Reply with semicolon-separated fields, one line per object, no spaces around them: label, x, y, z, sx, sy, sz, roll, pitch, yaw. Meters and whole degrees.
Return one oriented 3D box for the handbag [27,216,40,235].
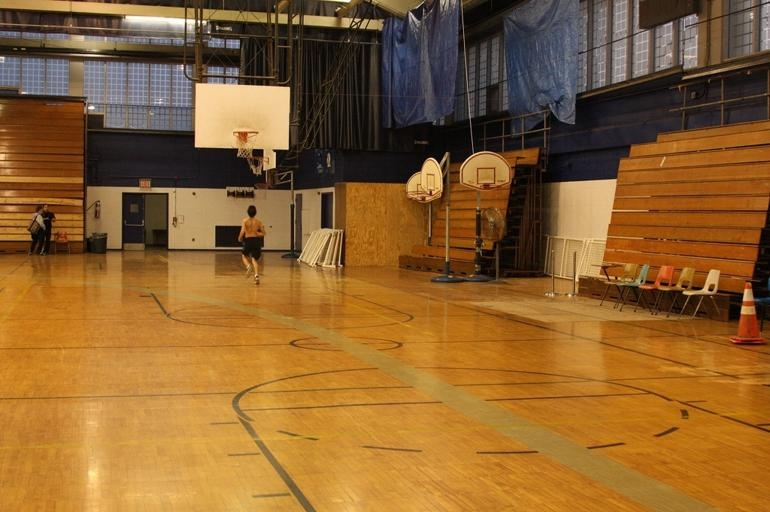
handbag;-13.026;-1.134;20.370;0.539;0.675;0.194;6;7;23

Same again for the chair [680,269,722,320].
chair;5.003;0.570;9.028;0.421;0.596;0.436;6;28;-19

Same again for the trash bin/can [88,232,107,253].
trash bin/can;-12.040;-0.550;22.975;0.553;0.735;0.688;-1;8;-36

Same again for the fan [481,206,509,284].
fan;2.998;-0.410;14.974;0.634;1.900;1.464;4;7;1
